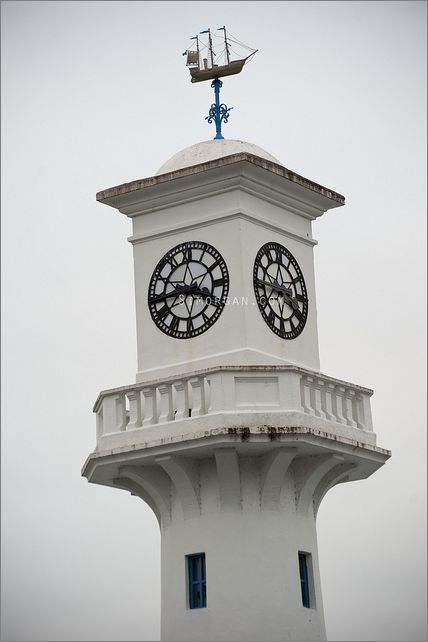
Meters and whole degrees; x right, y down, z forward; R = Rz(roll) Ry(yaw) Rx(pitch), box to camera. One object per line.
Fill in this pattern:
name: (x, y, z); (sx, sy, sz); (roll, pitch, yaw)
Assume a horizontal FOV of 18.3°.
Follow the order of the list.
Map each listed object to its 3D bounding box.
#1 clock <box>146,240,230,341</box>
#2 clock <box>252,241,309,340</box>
clock: (-0.370, -0.571, 23.269); (1.488, 0.192, 2.007); (-3, -57, -23)
clock: (1.148, -0.512, 23.506); (0.100, 1.530, 1.345); (-13, 3, 29)
